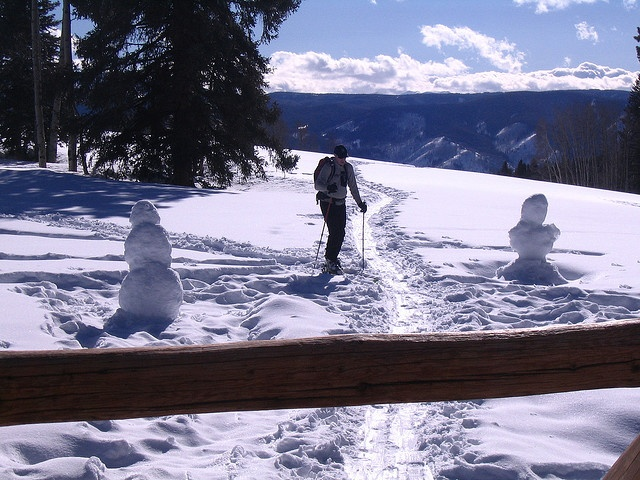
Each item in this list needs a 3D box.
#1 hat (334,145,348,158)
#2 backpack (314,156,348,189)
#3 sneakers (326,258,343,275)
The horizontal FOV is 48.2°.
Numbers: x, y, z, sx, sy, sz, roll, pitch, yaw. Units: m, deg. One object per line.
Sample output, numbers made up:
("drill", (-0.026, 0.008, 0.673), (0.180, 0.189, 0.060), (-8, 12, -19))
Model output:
("hat", (0.399, -1.622, 13.001), (0.193, 0.150, 0.258), (-19, 34, -27))
("backpack", (0.208, -1.240, 13.105), (0.620, 0.652, 0.467), (13, 16, -2))
("sneakers", (0.267, 0.501, 13.376), (0.319, 0.262, 0.218), (-1, 1, 20))
